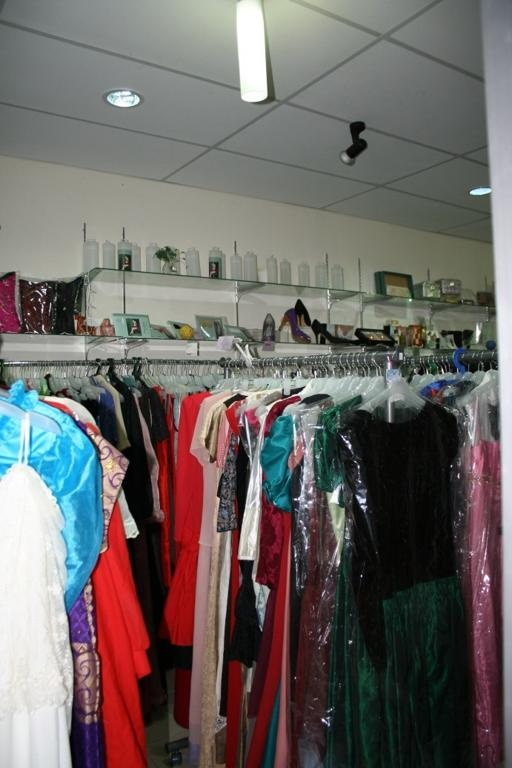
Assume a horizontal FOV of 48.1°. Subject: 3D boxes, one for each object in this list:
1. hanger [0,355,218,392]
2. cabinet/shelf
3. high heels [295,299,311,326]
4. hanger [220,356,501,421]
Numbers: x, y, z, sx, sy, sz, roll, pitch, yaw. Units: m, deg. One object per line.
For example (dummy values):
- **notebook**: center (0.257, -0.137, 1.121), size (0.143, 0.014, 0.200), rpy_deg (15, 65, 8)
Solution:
- **hanger**: center (-0.625, -0.037, 2.763), size (1.093, 0.152, 0.586), rpy_deg (-1, 1, -28)
- **cabinet/shelf**: center (0.363, -0.445, 3.762), size (3.030, 0.389, 0.381), rpy_deg (-1, 1, -33)
- **high heels**: center (0.310, -0.459, 3.696), size (0.060, 0.102, 0.220), rpy_deg (-7, -21, 10)
- **hanger**: center (0.314, -0.030, 1.887), size (0.617, 0.129, 1.036), rpy_deg (-1, 1, -37)
